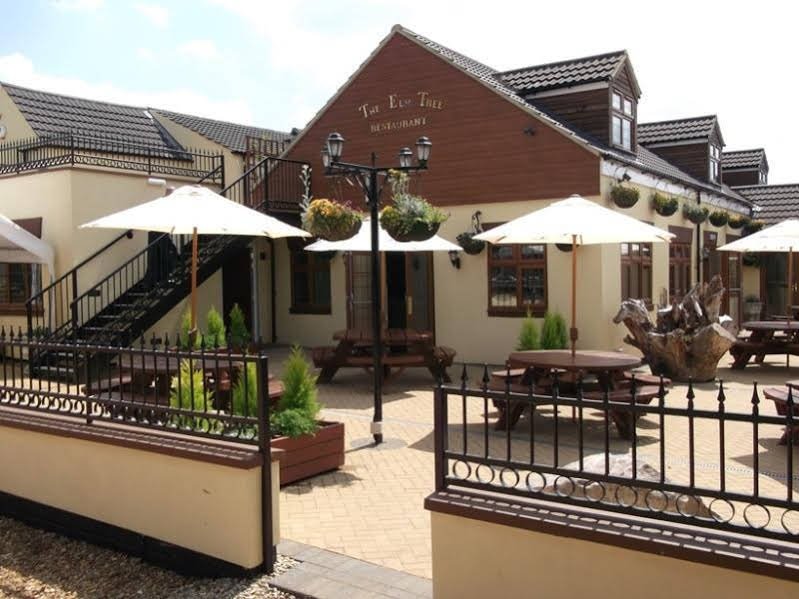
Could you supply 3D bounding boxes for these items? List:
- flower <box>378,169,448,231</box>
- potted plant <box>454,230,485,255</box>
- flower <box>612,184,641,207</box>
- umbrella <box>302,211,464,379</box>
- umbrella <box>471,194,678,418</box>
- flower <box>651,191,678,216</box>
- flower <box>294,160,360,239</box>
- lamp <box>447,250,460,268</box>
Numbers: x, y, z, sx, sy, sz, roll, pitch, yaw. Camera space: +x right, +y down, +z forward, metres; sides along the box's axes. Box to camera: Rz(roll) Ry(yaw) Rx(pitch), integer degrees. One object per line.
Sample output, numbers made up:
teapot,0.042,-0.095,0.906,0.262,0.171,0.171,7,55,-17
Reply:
flower,0.326,-1.869,13.596,1.453,1.464,1.139,5,9,10
potted plant,1.559,-1.221,15.843,0.450,0.360,0.478,5,-4,1
flower,4.580,-2.090,14.733,0.480,0.366,0.498,1,1,-12
umbrella,-0.289,0.016,14.282,2.941,3.040,3.057,0,2,-21
umbrella,2.427,0.002,10.294,2.477,2.404,2.634,1,2,-13
flower,5.987,-2.245,16.562,0.531,0.434,0.608,2,1,-3
flower,-1.140,-1.589,12.428,1.271,0.894,1.391,2,2,-1
lamp,1.144,-0.898,16.196,0.214,0.456,0.350,2,1,32
